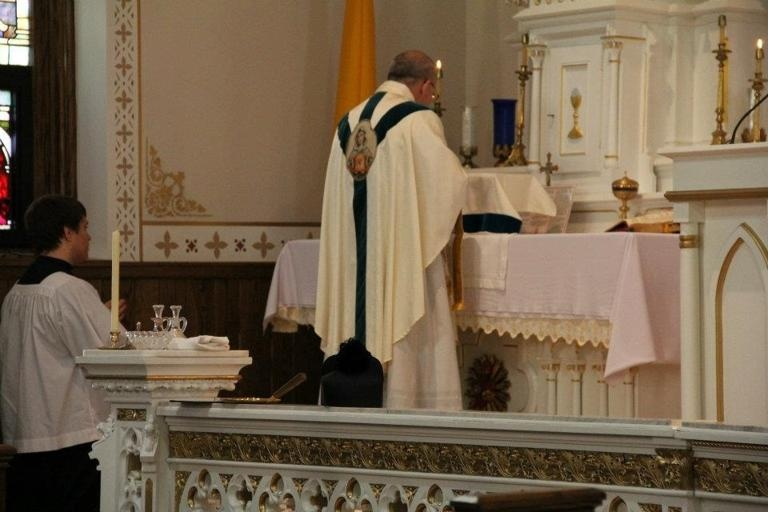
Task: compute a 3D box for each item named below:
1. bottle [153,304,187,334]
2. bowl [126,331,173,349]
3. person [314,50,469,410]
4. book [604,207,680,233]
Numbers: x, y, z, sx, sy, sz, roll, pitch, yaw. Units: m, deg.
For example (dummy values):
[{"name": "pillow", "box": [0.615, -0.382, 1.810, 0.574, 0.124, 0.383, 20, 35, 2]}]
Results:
[{"name": "bottle", "box": [-1.121, 0.331, 7.991, 0.216, 0.213, 0.103, 0, 3, 8]}, {"name": "bowl", "box": [-1.083, 0.392, 7.090, 0.214, 0.081, 0.166, -1, 1, -9]}, {"name": "person", "box": [0.030, -0.155, 8.492, 0.523, 1.950, 0.853, -2, 2, -42]}, {"name": "book", "box": [1.412, -0.189, 8.403, 0.377, 0.136, 0.644, -1, 1, 9]}]
